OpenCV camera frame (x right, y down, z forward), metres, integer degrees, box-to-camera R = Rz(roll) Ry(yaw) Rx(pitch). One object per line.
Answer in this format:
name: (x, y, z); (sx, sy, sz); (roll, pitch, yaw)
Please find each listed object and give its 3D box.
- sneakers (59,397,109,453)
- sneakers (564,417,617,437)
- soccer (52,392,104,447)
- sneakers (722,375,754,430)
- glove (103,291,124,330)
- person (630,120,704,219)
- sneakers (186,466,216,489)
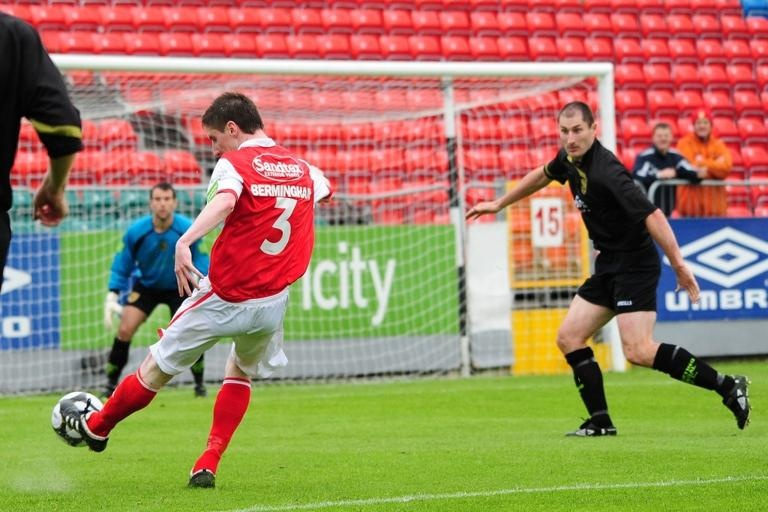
sneakers: (-2.292, 1.292, 8.158); (0.199, 0.553, 0.286); (-50, 18, -17)
sneakers: (1.763, 1.437, 8.970); (0.456, 0.173, 0.162); (1, -8, -2)
soccer: (-2.368, 1.212, 8.209); (0.428, 0.392, 0.409); (4, -35, -20)
sneakers: (2.941, 1.216, 8.855); (0.215, 0.464, 0.234); (-4, -3, 16)
glove: (-2.928, 0.590, 11.497); (0.139, 0.435, 0.343); (11, 7, 18)
person: (3.315, -0.925, 12.492); (0.685, 1.142, 0.612); (-2, 16, 8)
sneakers: (-1.368, 1.666, 7.988); (0.198, 0.145, 0.118); (-3, -3, -13)
